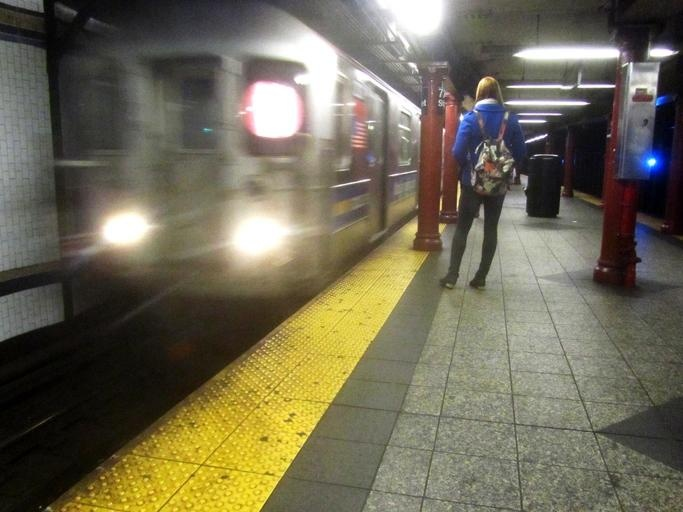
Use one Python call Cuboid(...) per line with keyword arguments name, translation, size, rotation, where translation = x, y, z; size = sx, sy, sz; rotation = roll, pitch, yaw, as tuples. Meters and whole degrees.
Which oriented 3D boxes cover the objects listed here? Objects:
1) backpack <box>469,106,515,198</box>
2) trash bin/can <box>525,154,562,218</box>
Cuboid(name="backpack", translation=(1.634, -1.092, 4.961), size=(0.438, 0.876, 0.353), rotation=(2, 14, 8))
Cuboid(name="trash bin/can", translation=(5.403, -1.860, 12.379), size=(0.851, 1.548, 1.473), rotation=(5, 15, 22))
